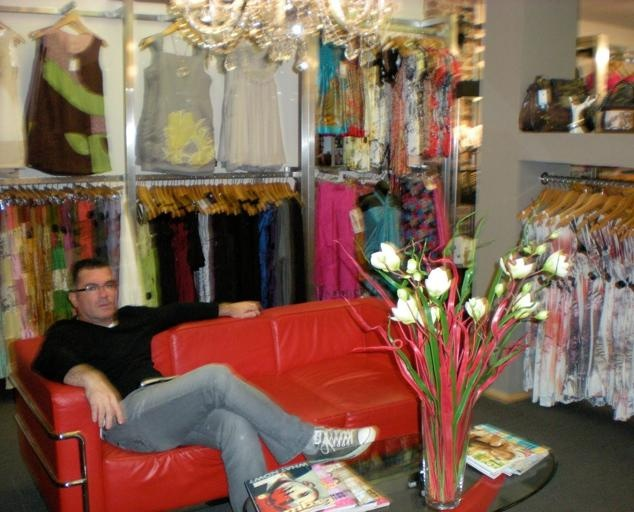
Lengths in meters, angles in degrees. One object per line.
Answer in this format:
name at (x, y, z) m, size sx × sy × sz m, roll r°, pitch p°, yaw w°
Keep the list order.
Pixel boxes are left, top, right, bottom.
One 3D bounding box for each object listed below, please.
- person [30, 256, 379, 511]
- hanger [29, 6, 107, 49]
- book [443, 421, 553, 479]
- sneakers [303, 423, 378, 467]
person at (-0.426, 0.340, 2.260) m, size 1.279 × 0.891 × 0.900 m, roll 4°, pitch 6°, yaw 11°
hanger at (-1.714, -1.577, 3.519) m, size 0.469 × 0.253 × 0.199 m, roll -5°, pitch 7°, yaw -27°
book at (0.644, 0.675, 1.770) m, size 0.220 × 0.056 × 0.220 m, roll -12°, pitch 20°, yaw -34°
sneakers at (0.082, 0.726, 1.980) m, size 0.334 × 0.120 × 0.149 m, roll -11°, pitch -32°, yaw 21°
